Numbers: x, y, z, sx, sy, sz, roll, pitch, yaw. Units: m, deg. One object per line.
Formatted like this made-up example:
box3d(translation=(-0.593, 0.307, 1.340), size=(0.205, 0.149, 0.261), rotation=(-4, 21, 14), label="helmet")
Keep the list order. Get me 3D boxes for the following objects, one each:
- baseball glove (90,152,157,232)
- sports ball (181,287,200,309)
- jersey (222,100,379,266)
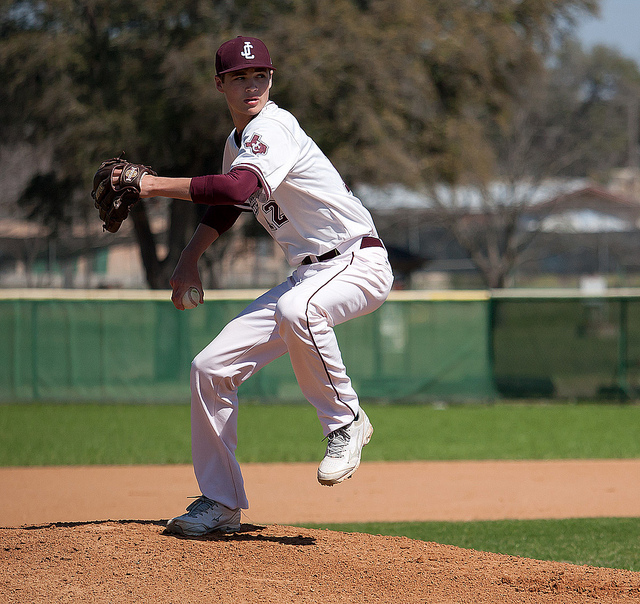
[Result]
box3d(translation=(-1.190, -0.694, 8.833), size=(0.337, 0.465, 0.216), rotation=(13, 1, 42), label="baseball glove")
box3d(translation=(-0.867, -0.037, 9.491), size=(0.127, 0.129, 0.129), rotation=(12, 4, -1), label="sports ball")
box3d(translation=(-0.134, -0.765, 9.113), size=(0.909, 1.068, 0.636), rotation=(-3, 8, -3), label="jersey")
